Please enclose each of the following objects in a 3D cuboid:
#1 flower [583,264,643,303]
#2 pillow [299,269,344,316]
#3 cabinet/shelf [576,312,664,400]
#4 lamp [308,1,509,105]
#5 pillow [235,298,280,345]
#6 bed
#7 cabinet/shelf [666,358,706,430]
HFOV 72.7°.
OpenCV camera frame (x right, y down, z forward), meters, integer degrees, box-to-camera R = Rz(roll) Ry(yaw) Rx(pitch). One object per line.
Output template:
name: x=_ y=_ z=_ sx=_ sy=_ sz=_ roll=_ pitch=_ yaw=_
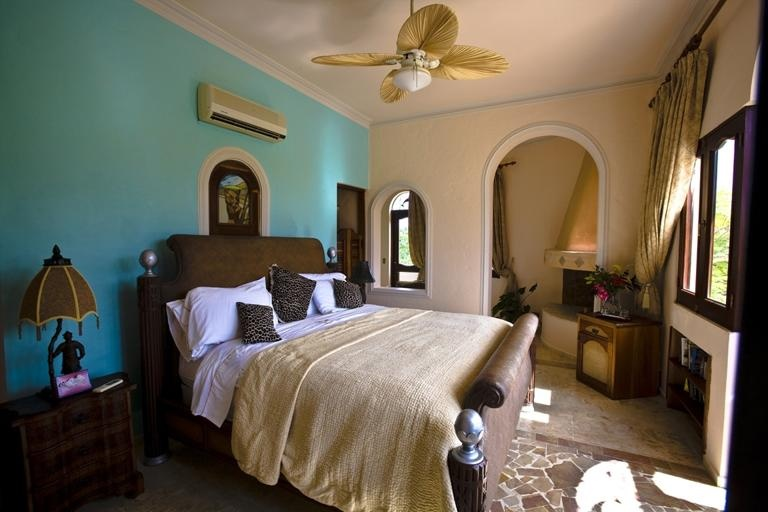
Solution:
flower: x=2.746 y=0.318 z=6.289 sx=0.454 sy=0.366 sz=0.469 roll=1 pitch=2 yaw=37
pillow: x=-0.728 y=0.420 z=6.043 sx=0.133 sy=0.478 sz=0.463 roll=-20 pitch=-23 yaw=40
cabinet/shelf: x=2.691 y=1.175 z=6.434 sx=0.833 sy=1.226 sz=0.822 roll=1 pitch=-3 yaw=-11
lamp: x=0.310 y=-1.857 z=4.986 sx=1.168 sy=0.690 sz=1.281 roll=-4 pitch=-5 yaw=43
pillow: x=-1.191 y=0.624 z=4.931 sx=0.358 sy=0.121 sz=0.403 roll=15 pitch=39 yaw=-29
bed: x=-0.389 y=0.877 z=5.324 sx=3.567 sy=2.132 sz=2.446 roll=3 pitch=4 yaw=24
cabinet/shelf: x=3.156 y=1.458 z=5.429 sx=0.156 sy=0.393 sz=0.685 roll=-1 pitch=2 yaw=15
